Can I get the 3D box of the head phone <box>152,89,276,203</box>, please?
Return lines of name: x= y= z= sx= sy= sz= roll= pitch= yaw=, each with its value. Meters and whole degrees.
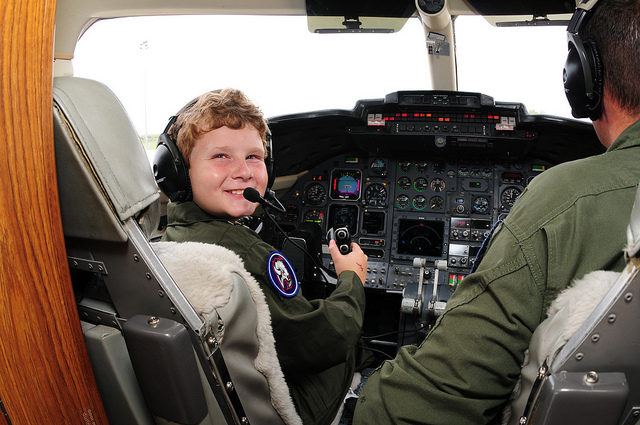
head phone: x=-0.372 y=-0.231 z=1.928 sx=0.472 sy=0.386 sz=0.188 roll=0 pitch=-1 yaw=-36
